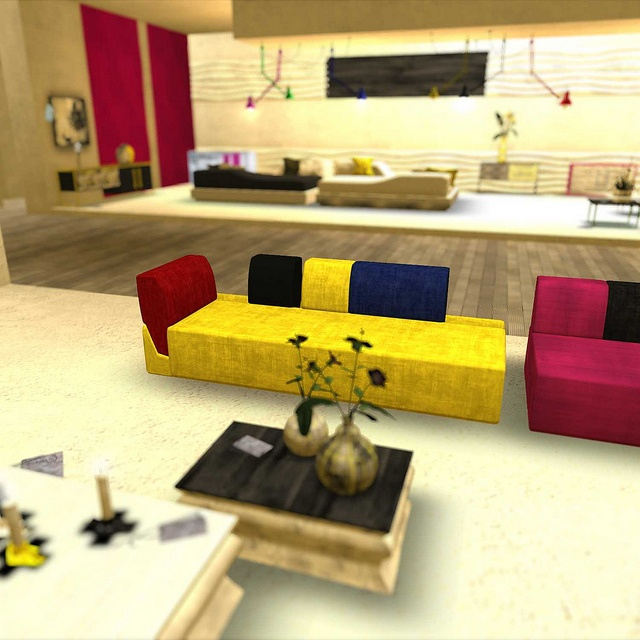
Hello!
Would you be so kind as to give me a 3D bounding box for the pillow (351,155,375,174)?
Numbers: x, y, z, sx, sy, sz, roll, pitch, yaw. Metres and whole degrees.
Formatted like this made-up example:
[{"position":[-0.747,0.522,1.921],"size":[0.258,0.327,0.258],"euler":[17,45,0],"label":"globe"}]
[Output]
[{"position":[0.899,-3.172,9.993],"size":[0.393,0.364,0.118],"euler":[0,6,13],"label":"pillow"}]
